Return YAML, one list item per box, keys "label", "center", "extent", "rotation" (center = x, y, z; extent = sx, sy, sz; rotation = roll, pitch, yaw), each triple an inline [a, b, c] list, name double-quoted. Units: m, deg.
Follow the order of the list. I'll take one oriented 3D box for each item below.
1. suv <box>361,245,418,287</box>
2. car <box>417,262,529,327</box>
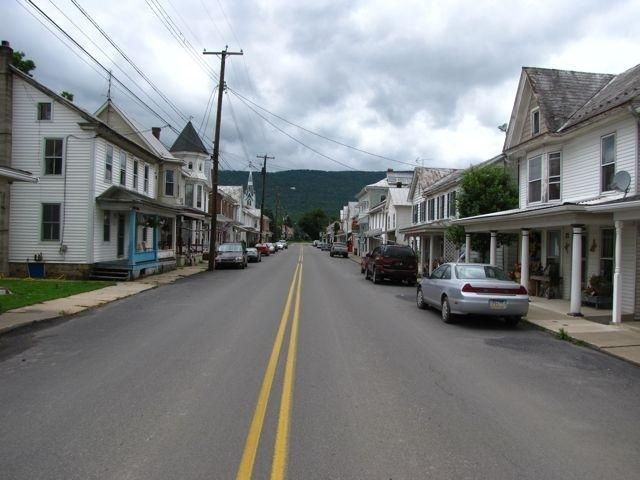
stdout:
- label: "suv"
  center: [3.247, 1.130, 24.940]
  extent: [1.216, 1.293, 2.760]
  rotation: [2, 3, -5]
- label: "car"
  center: [3.920, 1.354, 14.708]
  extent: [1.267, 1.090, 3.029]
  rotation: [2, 2, -6]
